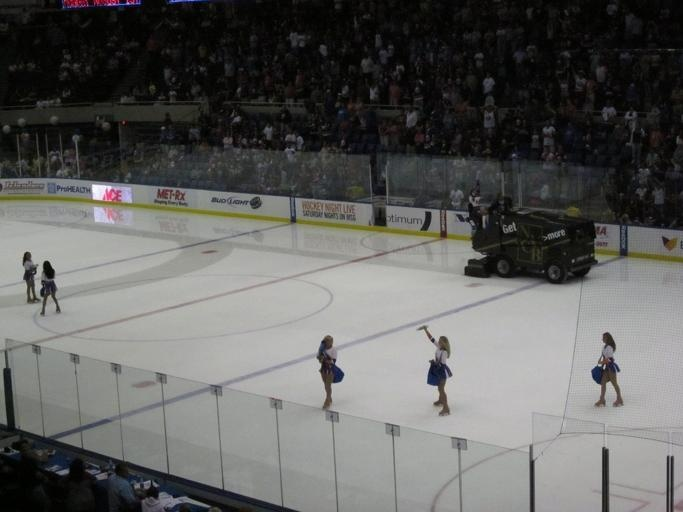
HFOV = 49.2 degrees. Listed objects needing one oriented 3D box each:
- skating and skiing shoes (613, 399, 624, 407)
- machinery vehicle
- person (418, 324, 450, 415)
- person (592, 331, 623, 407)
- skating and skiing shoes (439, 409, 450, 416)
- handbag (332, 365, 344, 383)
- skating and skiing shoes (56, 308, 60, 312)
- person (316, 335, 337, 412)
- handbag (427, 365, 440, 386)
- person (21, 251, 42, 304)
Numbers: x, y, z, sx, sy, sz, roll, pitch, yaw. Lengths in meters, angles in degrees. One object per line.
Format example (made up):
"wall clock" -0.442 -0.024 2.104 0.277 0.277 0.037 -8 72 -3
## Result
"skating and skiing shoes" 6.036 3.206 16.224 0.092 0.117 0.264 -4 -6 43
"machinery vehicle" 6.686 -0.613 26.154 4.288 2.806 2.428 9 14 39
"person" 2.193 2.486 17.090 0.577 2.040 1.547 0 9 7
"person" 5.896 2.424 16.399 0.678 1.741 1.019 3 9 23
"skating and skiing shoes" 2.313 3.507 16.763 0.233 0.240 0.122 4 8 38
"handbag" -0.109 2.691 17.121 0.229 0.468 0.342 4 10 31
"skating and skiing shoes" -9.296 1.755 24.329 0.142 0.137 0.149 -13 22 -35
"person" -0.356 2.612 17.364 0.416 1.775 1.084 -1 9 -2
"handbag" 2.063 2.650 16.713 0.255 0.572 0.378 0 9 4
"person" -10.669 0.683 25.484 0.435 1.741 1.310 -5 10 -24
